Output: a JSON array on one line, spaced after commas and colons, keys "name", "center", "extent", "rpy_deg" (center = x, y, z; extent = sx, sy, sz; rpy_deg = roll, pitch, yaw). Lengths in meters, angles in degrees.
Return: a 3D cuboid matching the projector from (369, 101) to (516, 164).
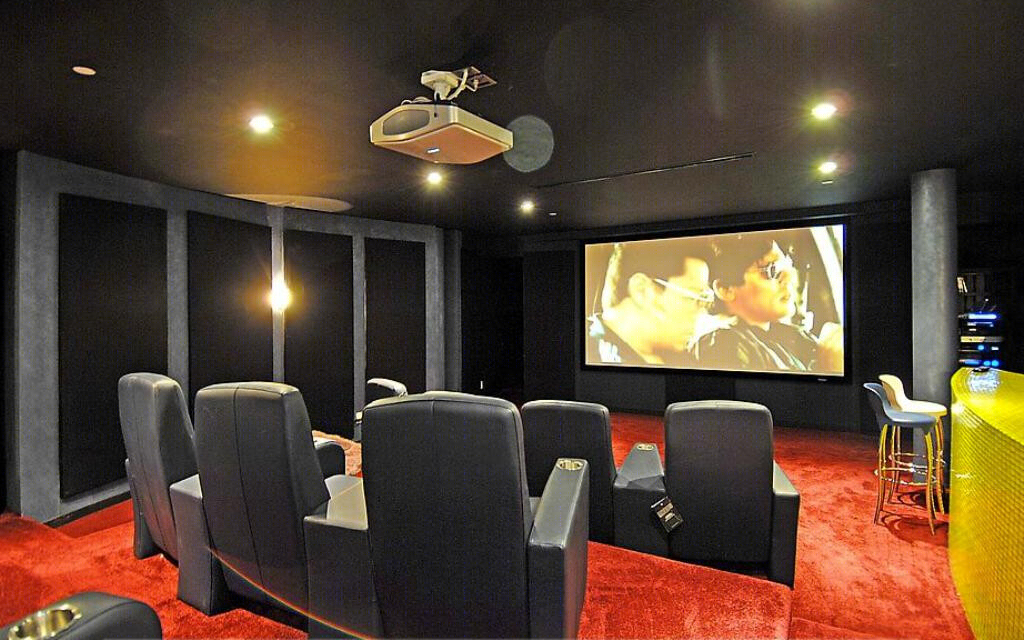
[{"name": "projector", "center": [-0.584, -1.598, 5.836], "extent": [0.679, 0.271, 0.944], "rpy_deg": [-2, 0, 40]}]
